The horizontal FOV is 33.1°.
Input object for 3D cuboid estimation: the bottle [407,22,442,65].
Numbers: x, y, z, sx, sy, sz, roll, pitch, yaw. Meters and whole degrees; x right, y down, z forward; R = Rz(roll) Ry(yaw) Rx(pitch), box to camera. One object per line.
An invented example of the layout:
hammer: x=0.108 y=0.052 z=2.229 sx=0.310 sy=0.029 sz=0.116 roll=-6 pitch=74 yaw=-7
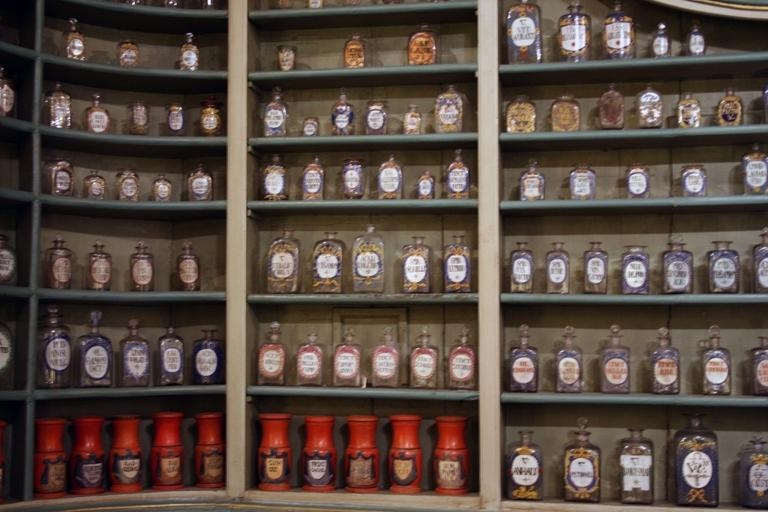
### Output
bottle: x=0.209 y=-1.173 z=7.131 sx=0.175 sy=0.268 sz=0.199 roll=-1 pitch=-66 yaw=1

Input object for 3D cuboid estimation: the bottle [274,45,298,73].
bottle: x=-0.543 y=-1.109 z=7.203 sx=0.159 sy=0.142 sz=0.142 roll=1 pitch=-86 yaw=9

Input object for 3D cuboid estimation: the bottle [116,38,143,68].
bottle: x=-1.430 y=-1.141 z=7.226 sx=0.189 sy=0.059 sz=0.202 roll=-1 pitch=-86 yaw=-10
